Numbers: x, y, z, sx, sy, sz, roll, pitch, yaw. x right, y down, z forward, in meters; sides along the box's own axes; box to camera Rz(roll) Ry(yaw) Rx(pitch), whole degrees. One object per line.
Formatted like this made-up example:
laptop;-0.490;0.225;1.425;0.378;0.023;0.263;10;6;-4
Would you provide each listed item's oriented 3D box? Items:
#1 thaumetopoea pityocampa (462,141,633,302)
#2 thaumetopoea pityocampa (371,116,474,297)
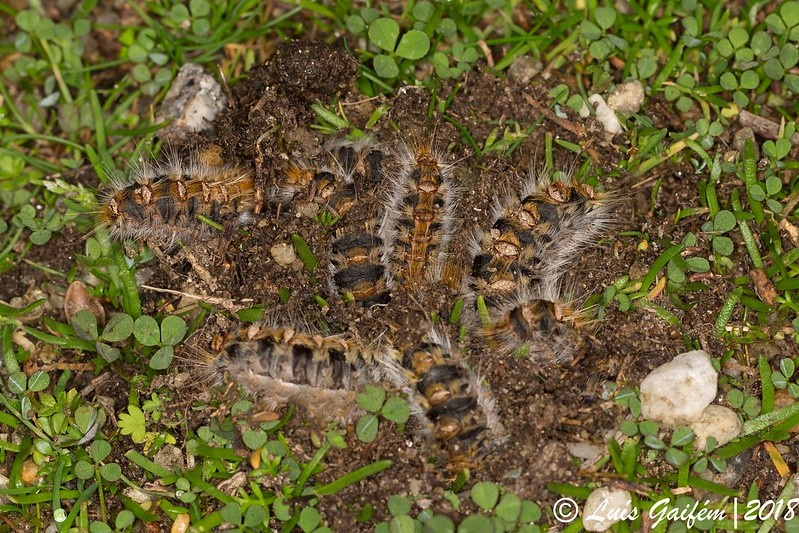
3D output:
thaumetopoea pityocampa;1.387;-0.296;7.345;1.112;0.466;1.655;40;88;-2
thaumetopoea pityocampa;0.210;-0.532;7.537;0.852;0.240;1.569;-1;87;-1
